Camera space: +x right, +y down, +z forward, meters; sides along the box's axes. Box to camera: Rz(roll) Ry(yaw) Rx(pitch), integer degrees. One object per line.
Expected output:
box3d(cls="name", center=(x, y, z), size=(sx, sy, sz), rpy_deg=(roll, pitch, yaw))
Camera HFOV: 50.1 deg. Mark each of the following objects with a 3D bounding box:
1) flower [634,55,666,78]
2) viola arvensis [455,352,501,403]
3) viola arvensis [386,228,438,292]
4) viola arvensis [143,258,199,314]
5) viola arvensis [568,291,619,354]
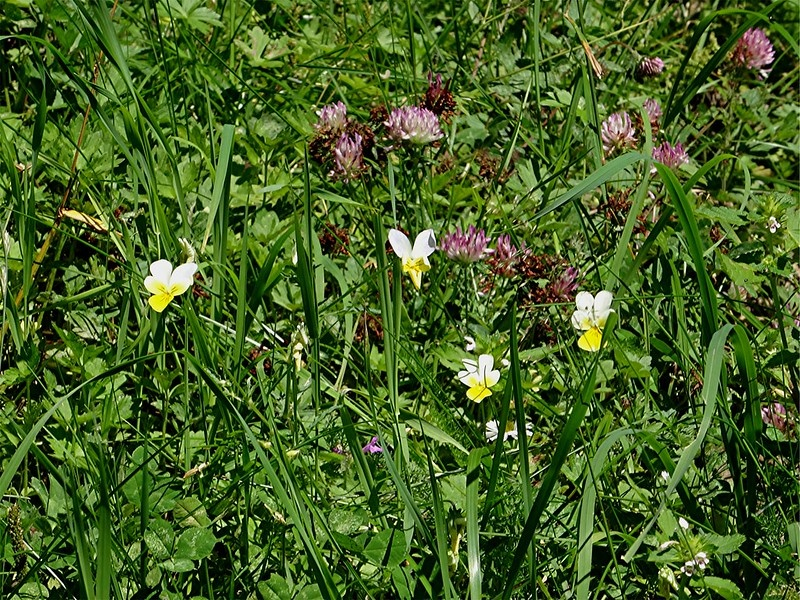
box3d(cls="flower", center=(1.139, -1.046, 3.874), size=(0.105, 0.101, 0.107), rpy_deg=(26, 47, 38))
box3d(cls="viola arvensis", center=(0.244, 0.258, 2.646), size=(0.153, 0.065, 0.202), rpy_deg=(-6, 34, -1))
box3d(cls="viola arvensis", center=(0.035, -0.122, 2.681), size=(0.120, 0.068, 0.203), rpy_deg=(2, 71, -17))
box3d(cls="viola arvensis", center=(-0.611, -0.049, 2.313), size=(0.145, 0.204, 0.047), rpy_deg=(-27, 65, -20))
box3d(cls="viola arvensis", center=(0.569, 0.071, 2.507), size=(0.105, 0.058, 0.207), rpy_deg=(3, 55, 17))
